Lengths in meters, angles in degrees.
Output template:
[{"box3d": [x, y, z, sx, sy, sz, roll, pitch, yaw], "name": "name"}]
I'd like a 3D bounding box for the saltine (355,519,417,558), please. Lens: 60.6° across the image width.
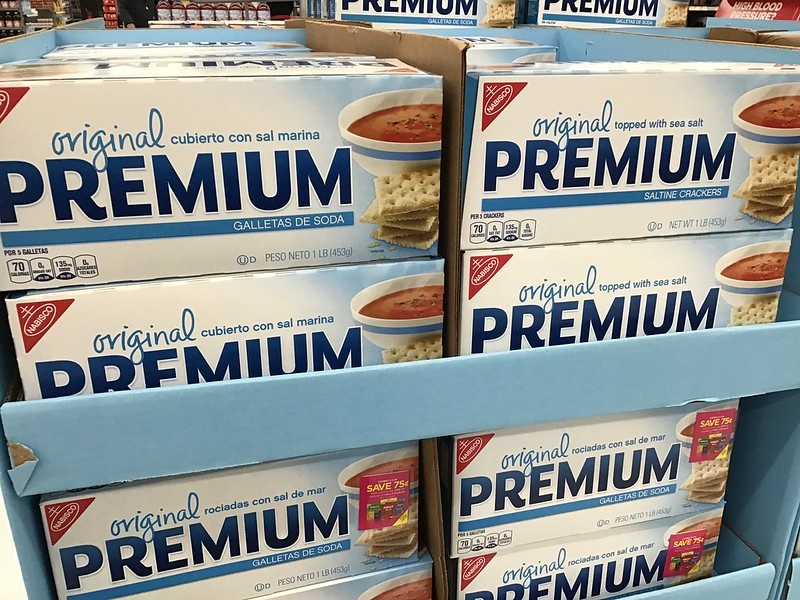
[{"box3d": [-0.018, 0.447, 1.272, 0.083, 0.027, 0.084, -4, 7, 5], "name": "saltine"}]
